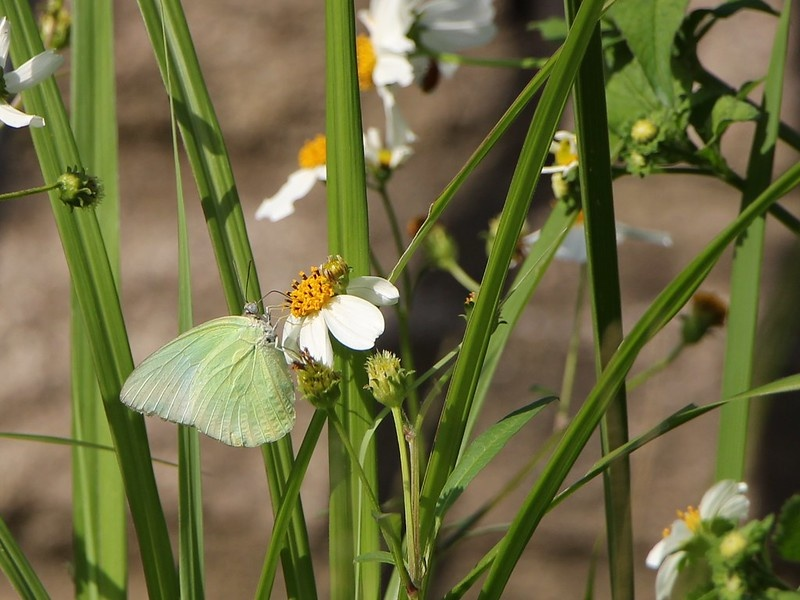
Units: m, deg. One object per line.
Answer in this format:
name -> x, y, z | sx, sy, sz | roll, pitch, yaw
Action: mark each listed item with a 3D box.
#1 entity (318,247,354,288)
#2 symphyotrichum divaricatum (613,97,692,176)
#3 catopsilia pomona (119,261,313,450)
entity -> -0.084, -0.041, 1.566 | 0.038, 0.039, 0.046 | -4, -87, 40
symphyotrichum divaricatum -> 0.350, -0.219, 1.605 | 0.114, 0.069, 0.056 | -14, -55, 10
catopsilia pomona -> -0.256, 0.123, 1.699 | 0.212, 0.223, 0.147 | 17, -19, 38
